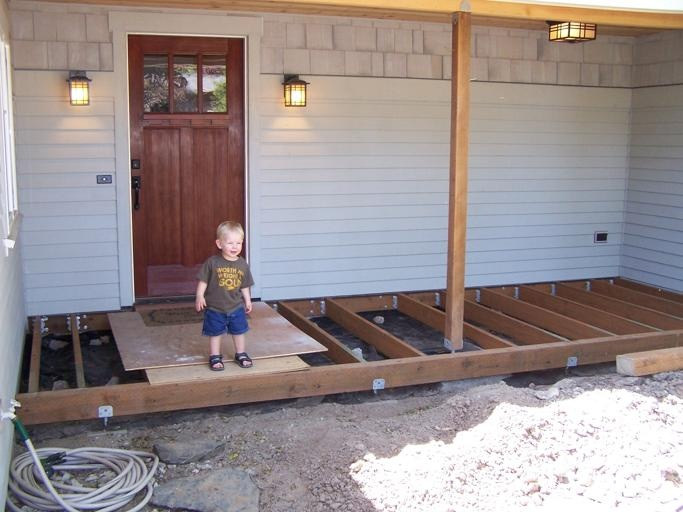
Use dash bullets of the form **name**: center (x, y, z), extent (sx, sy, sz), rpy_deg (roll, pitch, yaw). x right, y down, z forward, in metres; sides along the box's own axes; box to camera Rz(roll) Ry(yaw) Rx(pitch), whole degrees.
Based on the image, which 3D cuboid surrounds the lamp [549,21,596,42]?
- **lamp**: center (2.384, -2.230, 5.258), extent (0.359, 0.132, 0.308), rpy_deg (-1, 3, -18)

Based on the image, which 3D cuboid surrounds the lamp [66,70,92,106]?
- **lamp**: center (-2.774, -1.775, 5.453), extent (0.241, 0.363, 0.147), rpy_deg (-8, 15, -15)

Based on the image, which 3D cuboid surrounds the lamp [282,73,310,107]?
- **lamp**: center (-0.488, -1.910, 5.986), extent (0.330, 0.345, 0.301), rpy_deg (5, 16, 14)

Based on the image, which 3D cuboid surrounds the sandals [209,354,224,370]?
- **sandals**: center (-0.984, 0.842, 4.071), extent (0.083, 0.053, 0.163), rpy_deg (0, 0, -23)

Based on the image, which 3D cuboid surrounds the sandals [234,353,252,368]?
- **sandals**: center (-0.796, 0.841, 4.165), extent (0.087, 0.055, 0.171), rpy_deg (-4, 7, -33)

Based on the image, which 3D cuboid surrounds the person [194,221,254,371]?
- **person**: center (-0.901, 0.334, 3.964), extent (0.468, 1.183, 0.319), rpy_deg (-11, 16, -21)
